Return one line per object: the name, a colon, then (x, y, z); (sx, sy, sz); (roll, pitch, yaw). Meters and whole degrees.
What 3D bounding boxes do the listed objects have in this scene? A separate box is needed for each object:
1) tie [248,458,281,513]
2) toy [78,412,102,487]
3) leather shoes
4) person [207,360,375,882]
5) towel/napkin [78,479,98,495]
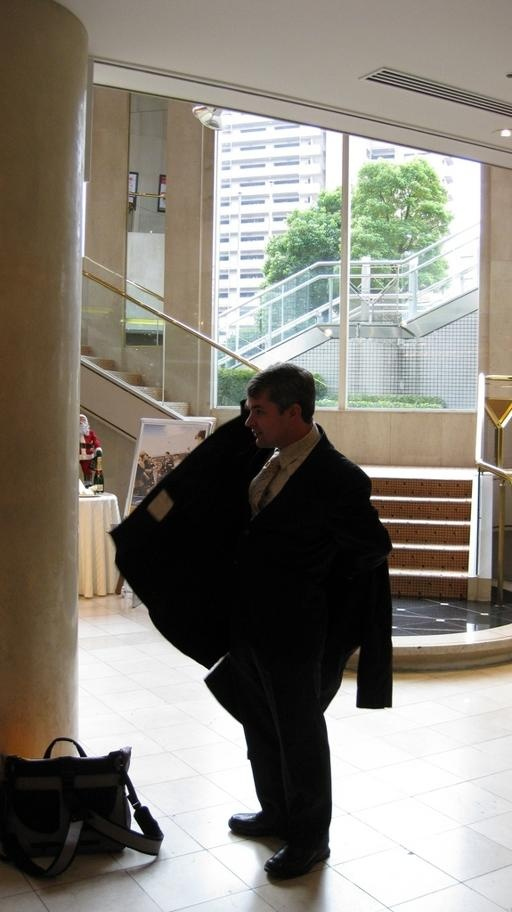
tie: (0.017, 0.078, 2.041); (0.038, 0.142, 0.097); (21, -11, -14)
toy: (-1.401, -0.029, 6.294); (0.172, 0.622, 0.295); (1, -2, -16)
leather shoes: (0.055, 1.083, 2.174); (0.103, 0.162, 0.351); (-6, 5, -26)
person: (0.085, 0.457, 2.078); (0.404, 1.387, 0.560); (1, -2, -15)
towel/napkin: (-1.329, 0.246, 5.895); (0.184, 0.083, 0.249); (6, 4, -27)
